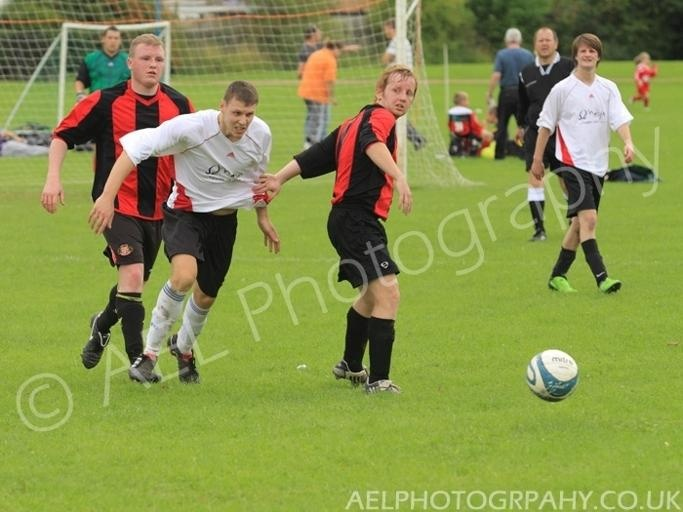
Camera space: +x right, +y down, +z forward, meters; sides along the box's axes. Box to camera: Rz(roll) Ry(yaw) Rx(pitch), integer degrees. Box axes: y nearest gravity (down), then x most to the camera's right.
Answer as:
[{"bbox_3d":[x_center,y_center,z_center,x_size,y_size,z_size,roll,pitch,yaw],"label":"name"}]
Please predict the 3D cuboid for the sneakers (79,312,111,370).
[{"bbox_3d":[-1.918,0.612,7.183,0.227,0.519,0.186,-2,-16,40],"label":"sneakers"}]

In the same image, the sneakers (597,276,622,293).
[{"bbox_3d":[2.542,0.277,8.817,0.107,0.132,0.290,-25,-1,-15],"label":"sneakers"}]

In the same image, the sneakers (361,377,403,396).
[{"bbox_3d":[0.286,0.959,6.739,0.261,0.122,0.102,-1,0,4],"label":"sneakers"}]

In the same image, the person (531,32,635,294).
[{"bbox_3d":[2.320,-0.899,8.980,0.918,2.459,1.095,3,17,11],"label":"person"}]

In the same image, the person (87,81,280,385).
[{"bbox_3d":[-1.108,-0.071,6.823,1.289,2.079,0.550,-3,16,-8],"label":"person"}]

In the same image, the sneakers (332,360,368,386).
[{"bbox_3d":[0.114,0.894,7.014,0.343,0.159,0.122,13,-8,-17],"label":"sneakers"}]

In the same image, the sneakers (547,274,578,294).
[{"bbox_3d":[2.173,0.278,8.974,0.330,0.153,0.108,3,1,37],"label":"sneakers"}]

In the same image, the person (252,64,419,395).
[{"bbox_3d":[0.177,-0.195,6.789,0.546,2.359,1.014,-15,22,-41],"label":"person"}]
